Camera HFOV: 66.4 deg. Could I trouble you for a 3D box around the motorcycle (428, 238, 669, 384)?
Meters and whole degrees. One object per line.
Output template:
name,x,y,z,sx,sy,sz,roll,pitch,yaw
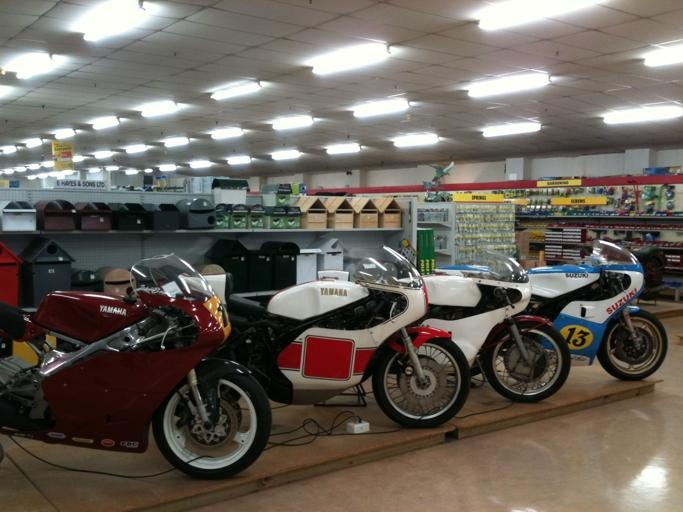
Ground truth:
motorcycle,1.811,0.490,4.827,3.297,1.148,0.895,7,-14,-25
